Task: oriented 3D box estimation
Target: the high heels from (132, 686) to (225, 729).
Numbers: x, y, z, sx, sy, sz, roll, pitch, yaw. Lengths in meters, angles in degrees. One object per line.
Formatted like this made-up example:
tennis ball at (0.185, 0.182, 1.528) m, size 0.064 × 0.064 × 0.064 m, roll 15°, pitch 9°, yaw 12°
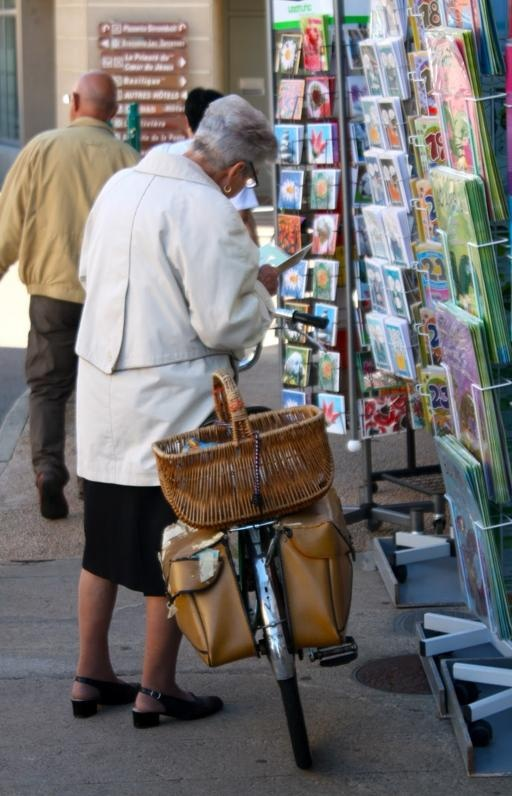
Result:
high heels at (-0.239, 0.935, 2.625) m, size 0.308 × 0.120 × 0.109 m, roll -5°, pitch 10°, yaw -25°

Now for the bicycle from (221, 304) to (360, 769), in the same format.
bicycle at (0.147, 0.462, 2.164) m, size 0.273 × 0.451 × 0.835 m, roll -19°, pitch 33°, yaw 13°

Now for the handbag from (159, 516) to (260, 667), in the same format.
handbag at (-0.144, 0.496, 2.108) m, size 0.152 × 0.323 × 0.322 m, roll -5°, pitch 7°, yaw -35°

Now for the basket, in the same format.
basket at (-0.011, 0.150, 2.144) m, size 0.465 × 0.363 × 0.336 m, roll -16°, pitch 18°, yaw 2°

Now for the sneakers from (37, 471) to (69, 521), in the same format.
sneakers at (-1.135, 0.554, 4.633) m, size 0.115 × 0.337 × 0.141 m, roll 1°, pitch 38°, yaw -9°
